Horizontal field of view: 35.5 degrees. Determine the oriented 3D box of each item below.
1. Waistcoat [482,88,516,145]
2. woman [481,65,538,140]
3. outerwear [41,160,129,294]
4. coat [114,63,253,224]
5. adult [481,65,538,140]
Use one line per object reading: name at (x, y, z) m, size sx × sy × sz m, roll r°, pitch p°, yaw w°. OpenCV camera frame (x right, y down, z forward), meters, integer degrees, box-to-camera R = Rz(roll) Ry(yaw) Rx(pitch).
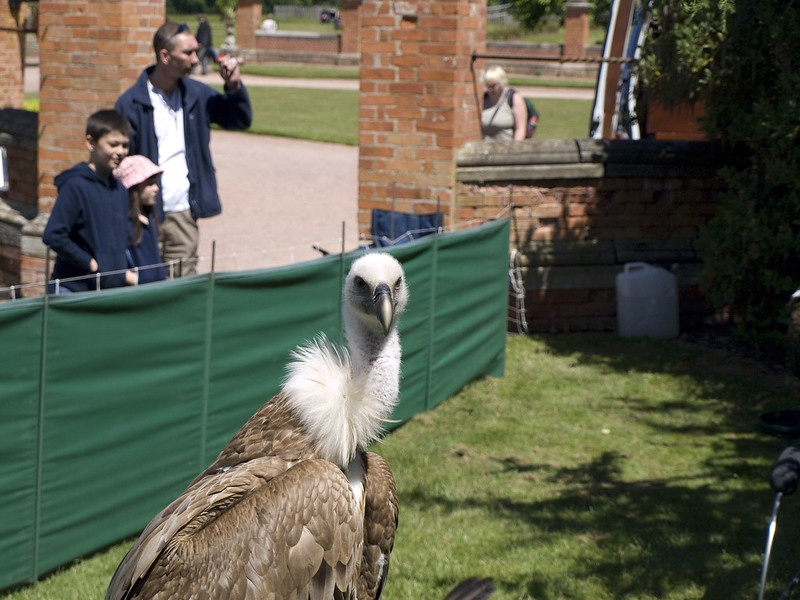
Waistcoat at (1.239, -2.453, 16.427) m, size 0.448 × 0.764 × 0.381 m, roll 11°, pitch 27°, yaw 17°
woman at (1.373, -2.493, 16.341) m, size 0.800 × 1.432 × 0.801 m, roll -1°, pitch -1°, yaw -2°
outerwear at (-2.903, -0.647, 11.698) m, size 0.661 × 1.468 × 1.132 m, roll 3°, pitch 8°, yaw 25°
coat at (-2.292, -1.869, 13.329) m, size 1.197 × 2.163 × 1.590 m, roll 6°, pitch 12°, yaw 36°
adult at (1.368, -2.495, 16.357) m, size 0.800 × 1.432 × 0.801 m, roll -1°, pitch -1°, yaw -2°
